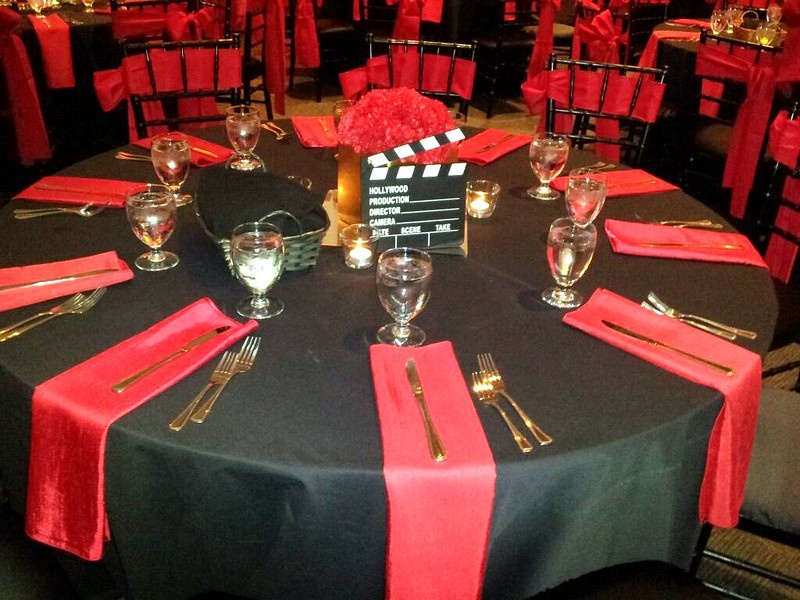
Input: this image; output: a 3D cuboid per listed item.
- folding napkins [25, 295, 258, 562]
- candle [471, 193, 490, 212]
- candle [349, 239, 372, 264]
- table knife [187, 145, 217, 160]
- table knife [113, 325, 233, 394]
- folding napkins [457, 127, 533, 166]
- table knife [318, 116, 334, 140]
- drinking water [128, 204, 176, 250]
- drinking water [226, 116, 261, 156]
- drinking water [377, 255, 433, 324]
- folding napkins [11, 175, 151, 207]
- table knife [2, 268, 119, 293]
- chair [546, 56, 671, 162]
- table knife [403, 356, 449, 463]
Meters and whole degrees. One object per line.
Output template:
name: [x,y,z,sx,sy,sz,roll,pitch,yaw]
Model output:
folding napkins: [-0.516,0.264,1.273,0.233,0.321,0.515,18,23,24]
candle: [0.235,-0.293,1.747,0.051,0.052,0.037,0,0,9]
candle: [-0.110,-0.121,1.527,0.047,0.065,0.022,-1,-10,-2]
table knife: [-0.695,-0.527,2.026,0.182,0.021,0.038,29,34,36]
table knife: [-0.452,0.122,1.160,0.032,0.019,0.246,28,40,34]
folding napkins: [0.329,-0.563,2.127,0.269,0.033,0.163,-29,43,-34]
table knife: [-0.284,-0.658,2.191,0.034,0.028,0.202,-19,39,-2]
drinking water: [-0.593,-0.163,1.431,0.101,0.112,0.102,0,44,-14]
drinking water: [-0.500,-0.518,1.900,0.111,0.128,0.112,-3,47,-14]
drinking water: [0.005,-0.007,1.245,0.115,0.185,0.120,1,13,1]
folding napkins: [-0.947,-0.324,1.739,0.318,0.038,0.194,10,34,3]
table knife: [-0.788,-0.043,1.350,0.217,0.023,0.024,-6,47,-25]
chair: [0.850,-0.875,2.343,0.385,0.347,0.603,26,32,4]
table knife: [0.049,0.192,1.074,0.034,0.011,0.235,-6,36,-4]
